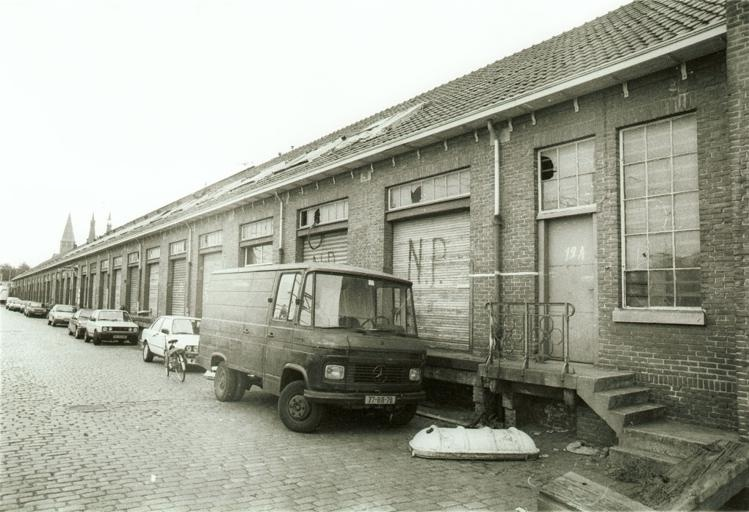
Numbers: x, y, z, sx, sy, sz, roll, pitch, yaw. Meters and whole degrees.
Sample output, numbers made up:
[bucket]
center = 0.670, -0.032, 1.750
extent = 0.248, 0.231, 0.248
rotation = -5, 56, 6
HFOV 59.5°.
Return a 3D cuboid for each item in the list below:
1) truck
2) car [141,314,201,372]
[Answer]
[truck]
center = -1.624, 2.041, 15.497
extent = 3.279, 3.315, 5.941
rotation = 6, -5, -36
[car]
center = -6.186, 2.574, 20.470
extent = 1.424, 1.289, 2.907
rotation = 6, -9, -33
